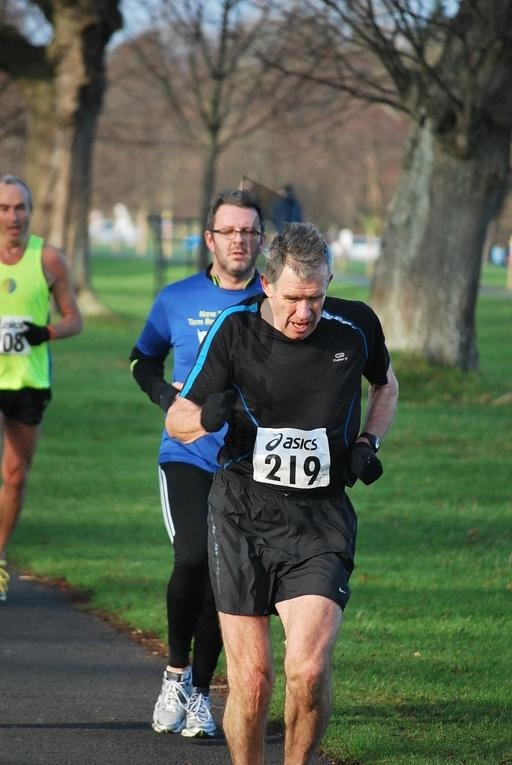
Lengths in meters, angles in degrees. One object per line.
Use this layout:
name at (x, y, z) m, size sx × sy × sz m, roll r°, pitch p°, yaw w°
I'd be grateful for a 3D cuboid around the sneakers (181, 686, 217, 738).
sneakers at (-0.210, 1.174, 4.352) m, size 0.092 × 0.084 × 0.197 m, roll 4°, pitch -3°, yaw -6°

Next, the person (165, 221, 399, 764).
person at (0.111, 0.417, 3.778) m, size 0.770 × 1.777 × 0.852 m, roll 5°, pitch 10°, yaw -11°

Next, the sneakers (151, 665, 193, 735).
sneakers at (-0.298, 1.117, 4.399) m, size 0.107 × 0.112 × 0.254 m, roll 2°, pitch 34°, yaw 4°

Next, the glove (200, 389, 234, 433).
glove at (-0.121, 0.087, 3.696) m, size 0.080 × 0.126 × 0.064 m, roll 20°, pitch -5°, yaw 0°

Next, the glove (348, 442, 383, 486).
glove at (0.325, 0.252, 3.814) m, size 0.053 × 0.129 × 0.099 m, roll -28°, pitch -46°, yaw 22°

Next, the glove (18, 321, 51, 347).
glove at (-1.030, -0.225, 5.729) m, size 0.128 × 0.103 × 0.059 m, roll 5°, pitch 10°, yaw -10°
